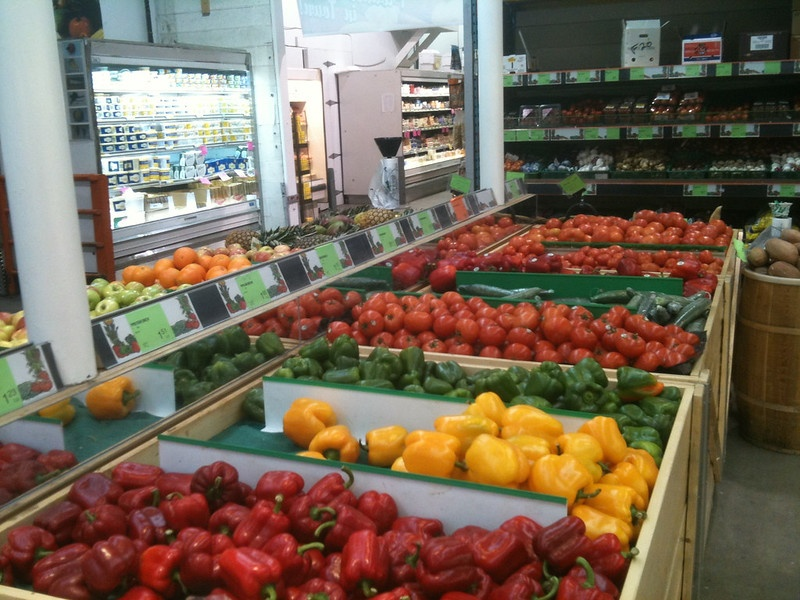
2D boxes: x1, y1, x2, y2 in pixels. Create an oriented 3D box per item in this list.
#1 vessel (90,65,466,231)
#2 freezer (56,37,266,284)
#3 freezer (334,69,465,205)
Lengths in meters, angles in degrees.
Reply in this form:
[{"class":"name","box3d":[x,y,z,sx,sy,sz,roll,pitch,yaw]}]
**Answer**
[{"class":"vessel","box3d":[-1.971,-2.381,8.506,1.327,1.436,4.563,3,16,16]},{"class":"freezer","box3d":[-2.904,-1.793,7.882,2.478,2.373,0.872,-4,18,16]},{"class":"freezer","box3d":[-0.132,-3.422,11.473,1.556,2.765,4.432,2,17,16]}]
